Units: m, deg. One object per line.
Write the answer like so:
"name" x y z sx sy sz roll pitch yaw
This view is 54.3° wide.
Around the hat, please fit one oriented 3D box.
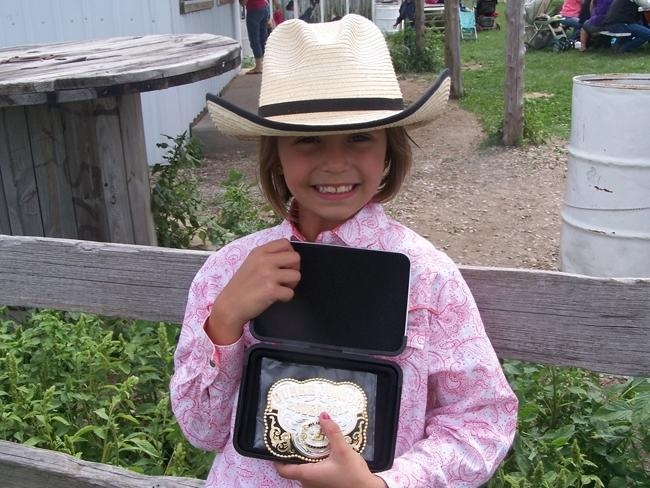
"hat" -0.002 -0.569 2.101 0.828 0.293 0.803 1 16 13
